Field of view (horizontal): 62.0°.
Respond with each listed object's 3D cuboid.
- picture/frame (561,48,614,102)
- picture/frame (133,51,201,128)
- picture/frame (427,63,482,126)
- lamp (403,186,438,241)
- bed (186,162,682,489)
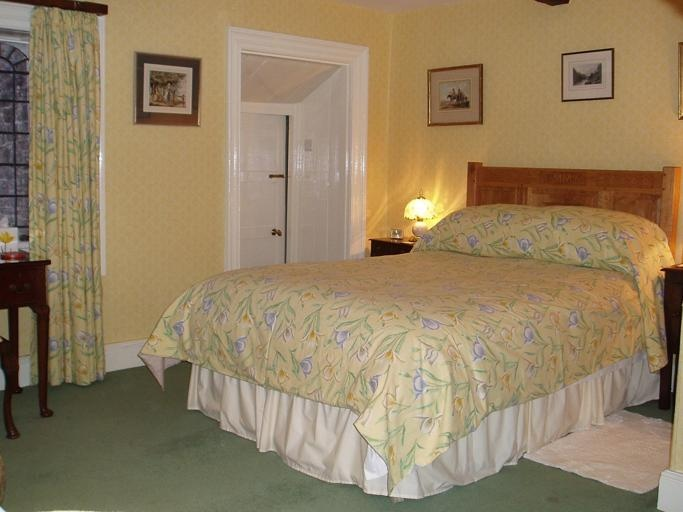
[{"bbox_3d":[2.150,-1.572,4.923,0.020,0.467,0.490,-10,12,-43],"label":"picture/frame"},{"bbox_3d":[-1.510,-1.425,4.834,0.728,0.694,0.053,0,3,-36],"label":"picture/frame"},{"bbox_3d":[1.167,-1.643,5.763,0.678,0.664,0.028,4,5,41],"label":"picture/frame"},{"bbox_3d":[0.835,-0.434,6.000,0.333,0.498,0.323,1,5,-9],"label":"lamp"},{"bbox_3d":[0.767,0.134,4.419,3.852,1.670,2.271,-3,11,-20],"label":"bed"}]
